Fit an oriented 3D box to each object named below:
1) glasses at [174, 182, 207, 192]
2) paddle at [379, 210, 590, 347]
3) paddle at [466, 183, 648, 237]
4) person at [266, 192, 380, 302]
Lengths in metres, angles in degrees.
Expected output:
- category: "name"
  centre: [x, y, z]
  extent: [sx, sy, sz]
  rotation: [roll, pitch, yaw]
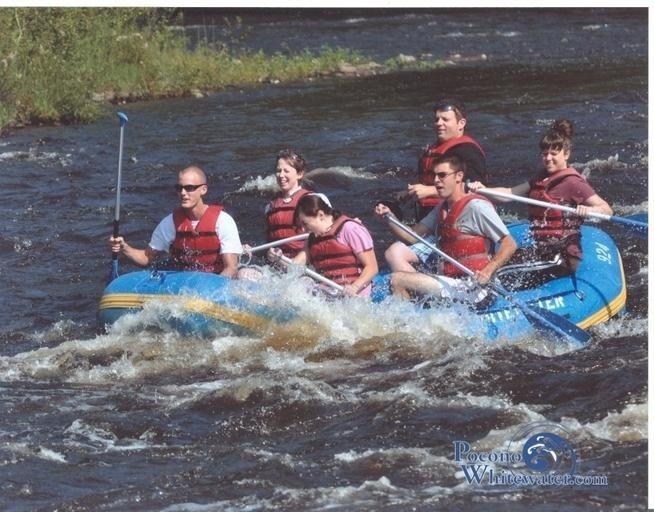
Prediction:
- category: "glasses"
  centre: [-1.803, -0.904, 17.601]
  extent: [0.371, 0.111, 0.142]
  rotation: [0, -2, -4]
- category: "paddle"
  centre: [2.139, 0.352, 17.585]
  extent: [2.970, 0.324, 0.201]
  rotation: [34, 0, 11]
- category: "paddle"
  centre: [3.181, -0.612, 18.427]
  extent: [2.378, 0.292, 0.361]
  rotation: [15, -7, 16]
- category: "person"
  centre: [0.130, -0.146, 17.579]
  extent: [1.082, 1.391, 0.588]
  rotation: [0, -2, -1]
